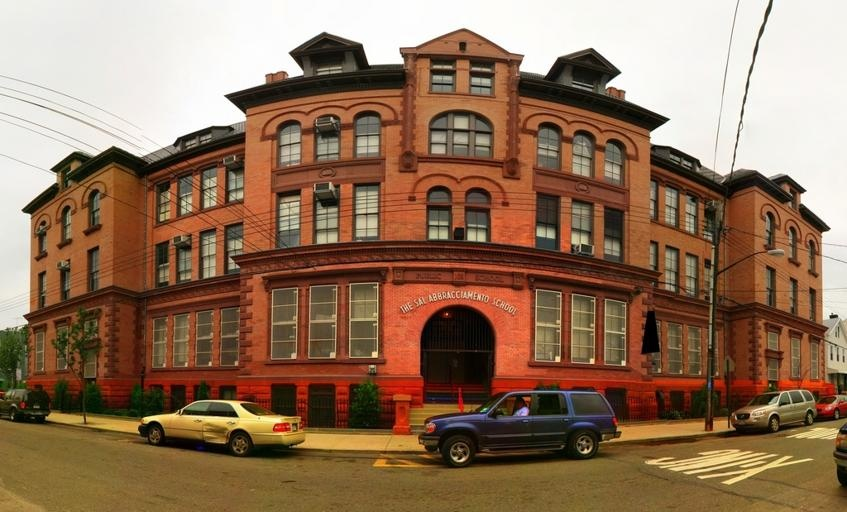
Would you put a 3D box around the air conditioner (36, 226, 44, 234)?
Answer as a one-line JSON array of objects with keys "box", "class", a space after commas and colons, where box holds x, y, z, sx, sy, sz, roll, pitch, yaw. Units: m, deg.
[{"box": [-30.849, -2.102, 73.909, 0.313, 0.638, 1.408, 6, -3, -39], "class": "air conditioner"}]

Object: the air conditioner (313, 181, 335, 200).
[{"box": [-6.115, -4.152, 57.512, 1.156, 0.658, 1.132, -6, -24, 10], "class": "air conditioner"}]

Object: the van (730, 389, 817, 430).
[{"box": [22.198, 9.818, 57.650, 6.601, 2.285, 3.151, -4, 0, -18], "class": "van"}]

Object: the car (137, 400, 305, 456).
[{"box": [-11.129, 9.523, 50.755, 8.275, 2.024, 3.275, 2, -14, 15], "class": "car"}]

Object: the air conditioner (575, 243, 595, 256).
[{"box": [10.336, -0.357, 58.643, 1.386, 0.802, 0.714, 6, -15, -25], "class": "air conditioner"}]
